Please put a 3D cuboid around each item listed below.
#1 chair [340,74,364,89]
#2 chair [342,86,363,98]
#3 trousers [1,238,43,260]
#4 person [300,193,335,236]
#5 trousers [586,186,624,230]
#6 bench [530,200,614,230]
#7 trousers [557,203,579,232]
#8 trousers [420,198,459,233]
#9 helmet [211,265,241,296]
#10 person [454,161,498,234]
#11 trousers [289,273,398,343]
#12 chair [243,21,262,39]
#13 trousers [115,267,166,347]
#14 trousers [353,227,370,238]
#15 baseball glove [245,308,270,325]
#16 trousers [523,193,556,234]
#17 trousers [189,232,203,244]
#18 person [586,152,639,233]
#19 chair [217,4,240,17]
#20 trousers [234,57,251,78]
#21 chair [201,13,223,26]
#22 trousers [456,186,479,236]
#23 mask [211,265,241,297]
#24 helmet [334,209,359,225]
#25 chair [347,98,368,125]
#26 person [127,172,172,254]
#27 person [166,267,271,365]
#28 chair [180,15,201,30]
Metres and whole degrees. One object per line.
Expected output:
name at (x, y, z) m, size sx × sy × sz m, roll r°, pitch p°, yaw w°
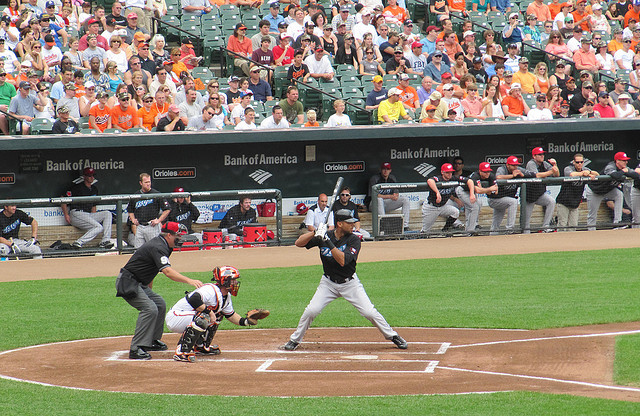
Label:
chair at (0.876, -3.535, 31.727) m, size 0.474 × 0.520 × 0.420 m, roll 2°, pitch 7°, yaw 9°
chair at (0.917, -3.219, 31.487) m, size 0.357 × 0.418 × 0.365 m, roll 1°, pitch -1°, yaw -17°
trousers at (-7.062, 0.955, 27.000) m, size 0.938 × 0.490 × 0.124 m, roll 1°, pitch -2°, yaw -15°
person at (0.147, 0.234, 29.027) m, size 1.273 × 1.132 × 1.008 m, roll 3°, pitch 14°, yaw -3°
trousers at (7.446, -0.060, 29.787) m, size 0.970 × 1.984 × 0.454 m, roll -7°, pitch 38°, yaw 0°
bench at (6.823, 0.228, 30.595) m, size 0.919 × 1.000 × 2.939 m, roll -19°, pitch -11°, yaw 22°
trousers at (6.603, 0.181, 29.883) m, size 0.535 × 1.185 × 0.352 m, roll 2°, pitch 39°, yaw 14°
trousers at (3.108, 0.276, 29.390) m, size 1.024 × 0.986 × 0.616 m, roll 13°, pitch 18°, yaw 20°
helmet at (-1.787, 1.357, 21.973) m, size 0.605 × 0.481 × 0.467 m, roll 3°, pitch 9°, yaw -14°
person at (4.032, -0.249, 29.139) m, size 0.905 × 1.795 × 0.620 m, roll 1°, pitch -2°, yaw -26°
trousers at (0.508, 2.134, 23.641) m, size 1.579 × 1.361 × 0.400 m, roll 0°, pitch 6°, yaw -1°
chair at (-1.998, -5.277, 33.712) m, size 0.524 × 0.780 × 0.578 m, roll -1°, pitch 11°, yaw -12°
trousers at (-3.323, 2.049, 21.978) m, size 0.748 × 1.279 × 0.426 m, roll 2°, pitch -2°, yaw -41°
trousers at (1.098, 0.614, 28.878) m, size 0.221 × 0.152 × 0.407 m, roll 24°, pitch 3°, yaw 32°
baseball glove at (-1.196, 2.047, 21.945) m, size 0.266 × 0.187 × 0.416 m, roll 20°, pitch -43°, yaw -36°
trousers at (5.743, 0.047, 29.539) m, size 0.812 × 0.840 × 0.216 m, roll 0°, pitch -2°, yaw -13°
trousers at (-3.062, 0.736, 28.156) m, size 0.272 × 0.231 × 0.257 m, roll 0°, pitch 7°, yaw -28°
person at (7.625, -0.398, 29.793) m, size 1.216 × 2.065 × 0.638 m, roll -1°, pitch -2°, yaw 14°
chair at (-2.741, -5.934, 33.987) m, size 0.484 × 0.626 × 0.505 m, roll -3°, pitch 12°, yaw -16°
trousers at (-2.151, -3.914, 31.852) m, size 0.644 × 0.704 × 0.543 m, roll -2°, pitch 20°, yaw -4°
chair at (-3.136, -5.532, 33.382) m, size 0.412 × 0.531 × 0.424 m, roll -1°, pitch 10°, yaw -11°
trousers at (3.820, 0.004, 29.229) m, size 0.587 × 1.138 × 0.275 m, roll 0°, pitch -2°, yaw 0°
mask at (-1.808, 1.367, 21.985) m, size 0.608 × 0.503 × 0.518 m, roll 4°, pitch 7°, yaw -33°
helmet at (0.520, 0.174, 22.081) m, size 0.415 × 0.214 × 0.288 m, roll 6°, pitch 6°, yaw 7°
chair at (1.027, -2.644, 30.957) m, size 0.712 × 0.784 × 0.690 m, roll 0°, pitch 2°, yaw -18°
person at (-4.189, 0.422, 27.858) m, size 1.055 × 2.424 × 0.634 m, roll 0°, pitch 18°, yaw -12°
person at (-2.108, 2.056, 21.940) m, size 1.624 × 1.850 × 0.597 m, roll 0°, pitch -2°, yaw -12°
chair at (-3.744, -5.402, 33.124) m, size 0.505 × 0.520 × 0.419 m, roll 0°, pitch 8°, yaw -9°
